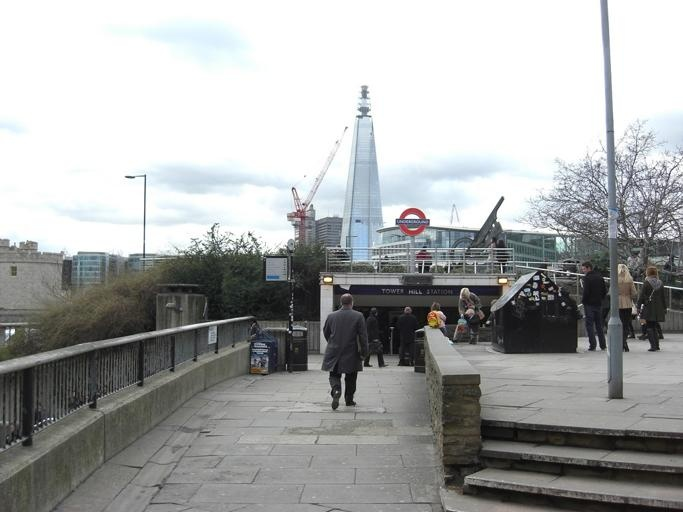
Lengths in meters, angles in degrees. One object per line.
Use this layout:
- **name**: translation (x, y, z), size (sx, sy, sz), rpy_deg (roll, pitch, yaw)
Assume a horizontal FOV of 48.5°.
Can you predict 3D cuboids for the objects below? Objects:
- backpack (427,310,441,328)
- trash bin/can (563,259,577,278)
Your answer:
- **backpack**: translation (2.332, 1.610, 19.117), size (0.338, 0.447, 0.467), rpy_deg (-1, -8, 6)
- **trash bin/can**: translation (10.802, 0.611, 35.766), size (0.653, 0.711, 0.818), rpy_deg (1, -18, 3)
